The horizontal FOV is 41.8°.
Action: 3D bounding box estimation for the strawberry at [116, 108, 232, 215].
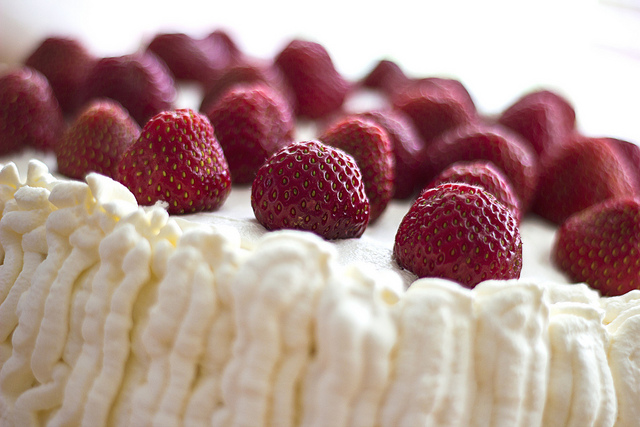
[{"bbox_3d":[-0.279,-0.085,1.548,0.153,0.154,0.154,34,-16,-23],"label":"strawberry"}]
